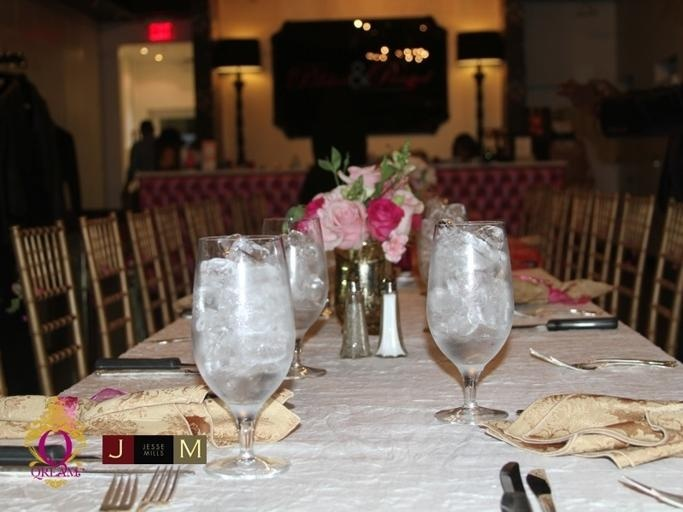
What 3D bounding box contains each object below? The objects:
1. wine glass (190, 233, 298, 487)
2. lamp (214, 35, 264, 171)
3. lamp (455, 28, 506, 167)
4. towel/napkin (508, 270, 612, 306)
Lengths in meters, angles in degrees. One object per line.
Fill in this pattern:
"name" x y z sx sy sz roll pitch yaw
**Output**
"wine glass" -0.106 0.108 0.671 0.098 0.257 0.121 -5 9 -29
"lamp" -0.956 -1.391 5.993 0.434 1.197 0.445 -6 -5 42
"lamp" 1.270 -1.483 5.871 0.437 1.151 0.173 1 8 9
"towel/napkin" 0.518 0.082 1.531 0.234 0.060 0.148 -1 2 -4
